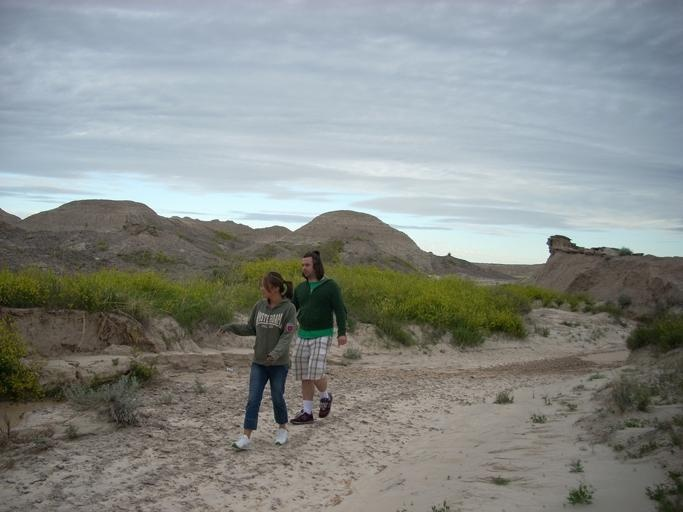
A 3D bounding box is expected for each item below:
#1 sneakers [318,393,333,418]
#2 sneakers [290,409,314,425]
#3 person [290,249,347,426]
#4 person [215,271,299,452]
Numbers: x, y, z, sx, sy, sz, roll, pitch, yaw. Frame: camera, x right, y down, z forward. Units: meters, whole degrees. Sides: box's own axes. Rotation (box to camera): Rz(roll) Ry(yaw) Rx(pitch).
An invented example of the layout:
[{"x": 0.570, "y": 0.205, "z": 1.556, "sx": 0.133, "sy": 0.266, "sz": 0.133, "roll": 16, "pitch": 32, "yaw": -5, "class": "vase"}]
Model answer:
[{"x": -0.259, "y": 2.453, "z": 9.191, "sx": 0.173, "sy": 0.418, "sz": 0.196, "roll": 2, "pitch": -12, "yaw": 27, "class": "sneakers"}, {"x": -0.677, "y": 2.564, "z": 8.906, "sx": 0.442, "sy": 0.177, "sz": 0.147, "roll": 2, "pitch": -6, "yaw": -16, "class": "sneakers"}, {"x": -0.415, "y": 1.294, "z": 8.948, "sx": 0.913, "sy": 2.714, "sz": 0.698, "roll": 6, "pitch": 5, "yaw": -5, "class": "person"}, {"x": -1.103, "y": 1.446, "z": 7.928, "sx": 0.779, "sy": 2.427, "sz": 0.690, "roll": 5, "pitch": 5, "yaw": -9, "class": "person"}]
